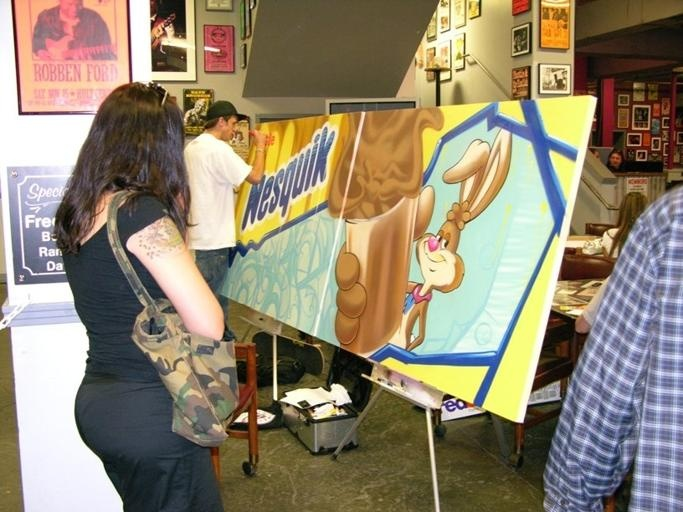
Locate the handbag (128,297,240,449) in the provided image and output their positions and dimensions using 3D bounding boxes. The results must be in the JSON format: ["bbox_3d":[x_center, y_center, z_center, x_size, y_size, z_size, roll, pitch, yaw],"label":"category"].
[{"bbox_3d":[-0.372,0.348,1.639,0.306,0.361,0.218,-22,-18,34],"label":"handbag"}]

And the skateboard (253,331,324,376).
[{"bbox_3d":[-0.324,0.562,3.610,0.113,0.236,0.809,1,8,-35],"label":"skateboard"}]

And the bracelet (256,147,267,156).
[{"bbox_3d":[-0.501,-0.637,3.530,0.044,0.035,0.046,2,-2,37],"label":"bracelet"}]

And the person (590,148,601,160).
[{"bbox_3d":[4.014,-1.613,8.995,0.163,0.150,0.742,4,11,24],"label":"person"}]

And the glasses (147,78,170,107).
[{"bbox_3d":[-0.534,-0.482,1.698,0.025,0.086,0.081,-2,19,-38],"label":"glasses"}]
